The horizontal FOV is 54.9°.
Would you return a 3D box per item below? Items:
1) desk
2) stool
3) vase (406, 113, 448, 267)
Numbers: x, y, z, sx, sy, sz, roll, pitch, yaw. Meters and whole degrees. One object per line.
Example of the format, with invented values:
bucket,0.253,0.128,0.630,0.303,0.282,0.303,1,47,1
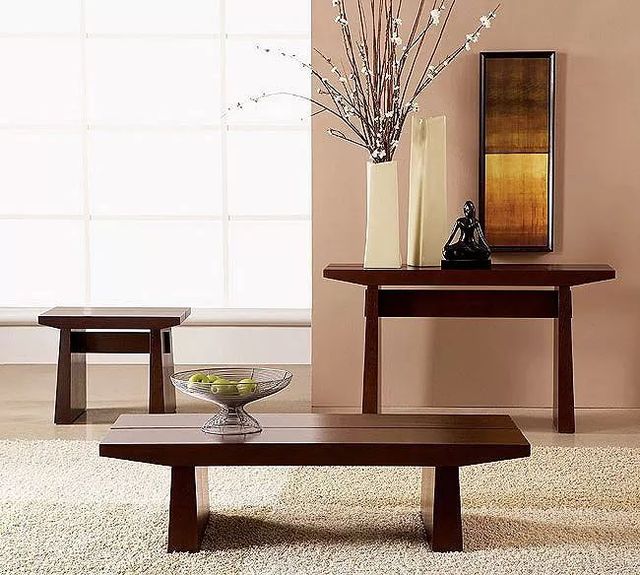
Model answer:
desk,0.784,0.314,3.249,1.377,0.864,0.527,0,5,-2
stool,-1.133,0.322,3.511,0.792,0.594,0.638,0,-4,-2
vase,0.549,-0.493,3.191,0.211,0.766,0.142,2,6,18
